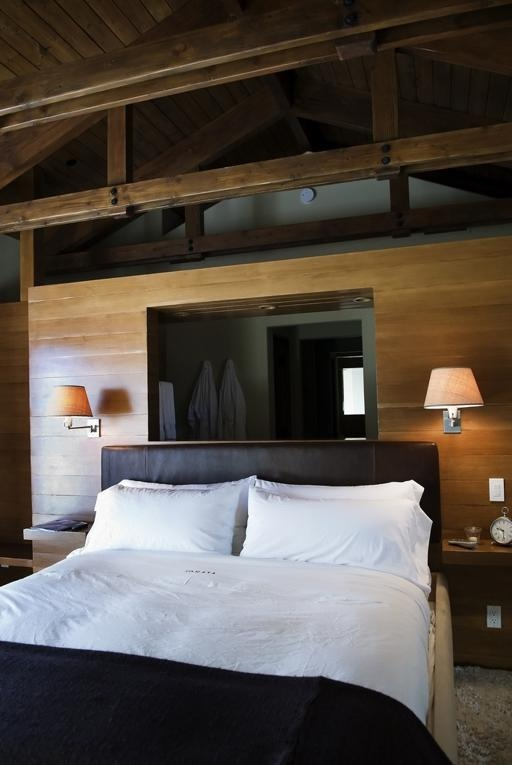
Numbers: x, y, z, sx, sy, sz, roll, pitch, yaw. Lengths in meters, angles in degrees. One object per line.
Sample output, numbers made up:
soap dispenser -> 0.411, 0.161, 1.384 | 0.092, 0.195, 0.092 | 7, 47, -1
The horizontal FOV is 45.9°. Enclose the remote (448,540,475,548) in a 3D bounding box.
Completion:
remote -> 0.921, 0.723, 2.704 | 0.123, 0.018, 0.106 | -3, -1, 21

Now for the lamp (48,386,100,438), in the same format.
lamp -> -1.056, 0.176, 3.496 | 0.297, 0.342, 0.245 | -1, 12, -23

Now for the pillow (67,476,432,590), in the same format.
pillow -> 0.010, 0.690, 2.868 | 1.575, 0.365, 0.461 | -3, -1, 21

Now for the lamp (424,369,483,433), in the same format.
lamp -> 0.901, 0.079, 2.892 | 0.299, 0.334, 0.306 | 3, 7, 44

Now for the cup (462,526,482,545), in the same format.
cup -> 0.988, 0.698, 2.756 | 0.073, 0.061, 0.073 | -1, 3, 0
